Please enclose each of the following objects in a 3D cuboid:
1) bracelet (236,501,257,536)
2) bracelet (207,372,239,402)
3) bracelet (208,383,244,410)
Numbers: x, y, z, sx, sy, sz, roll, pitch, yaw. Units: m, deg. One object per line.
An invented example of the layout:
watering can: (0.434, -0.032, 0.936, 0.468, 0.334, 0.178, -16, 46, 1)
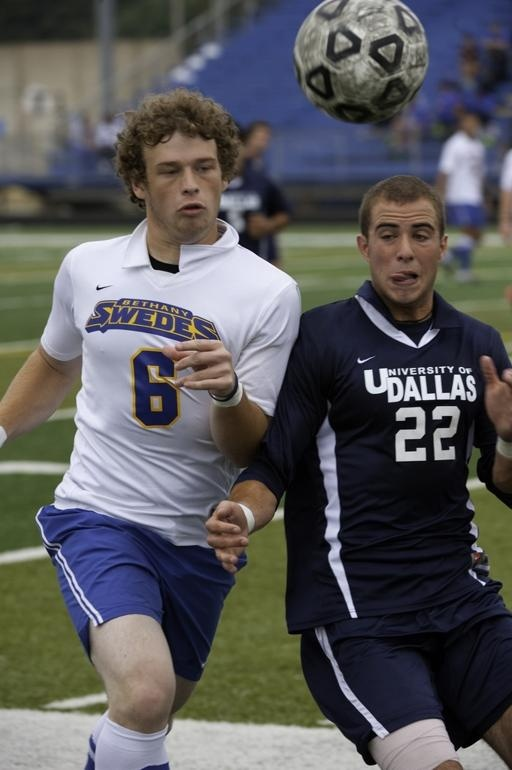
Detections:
bracelet: (-0.023, 0.304, 1.989, 0.038, 0.086, 0.072, -3, 8, -2)
bracelet: (-0.073, 0.006, 2.040, 0.067, 0.063, 0.027, -4, 9, -1)
bracelet: (-0.063, 0.031, 2.046, 0.060, 0.060, 0.035, -8, 2, -21)
